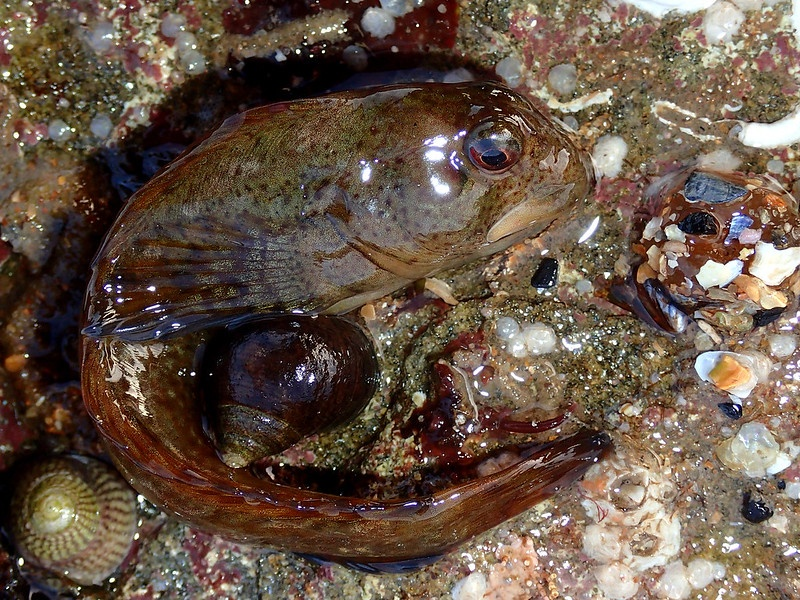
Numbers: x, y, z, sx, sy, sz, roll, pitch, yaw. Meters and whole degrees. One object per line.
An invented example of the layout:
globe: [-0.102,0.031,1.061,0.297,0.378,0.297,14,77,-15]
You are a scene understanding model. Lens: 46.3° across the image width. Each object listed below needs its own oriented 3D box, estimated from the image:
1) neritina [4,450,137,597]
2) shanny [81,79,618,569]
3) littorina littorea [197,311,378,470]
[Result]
neritina: [-1.359,0.890,3.883,0.508,0.202,0.523,-2,88,-18]
shanny: [-0.278,0.037,3.696,1.826,0.743,1.941,20,84,3]
littorina littorea: [-0.452,0.356,3.895,0.769,0.396,0.648,-24,52,-19]
